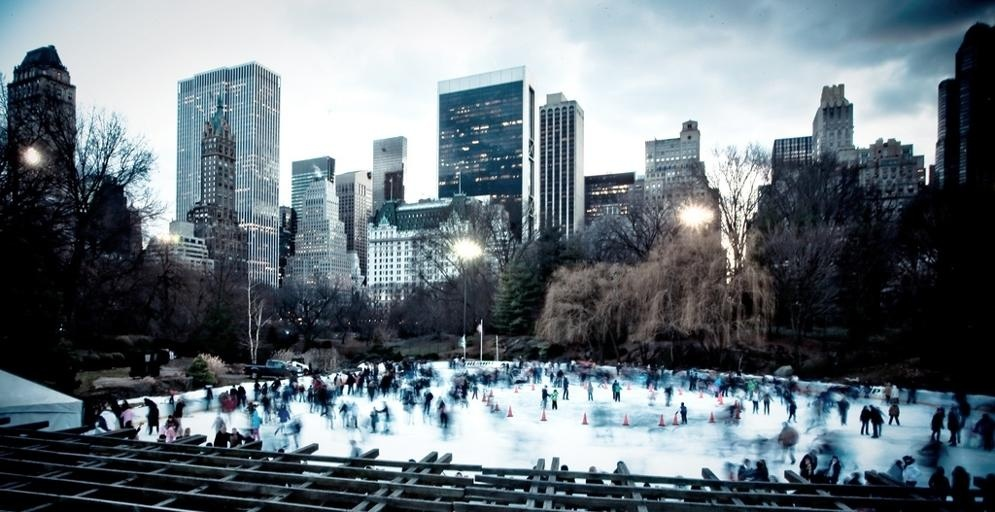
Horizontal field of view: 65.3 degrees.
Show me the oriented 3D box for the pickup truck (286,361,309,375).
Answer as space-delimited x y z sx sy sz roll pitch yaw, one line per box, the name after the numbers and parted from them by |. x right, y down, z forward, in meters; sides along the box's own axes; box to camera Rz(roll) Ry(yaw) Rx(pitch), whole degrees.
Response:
-18.943 10.576 74.089 1.164 0.575 1.918 2 0 34 | pickup truck
